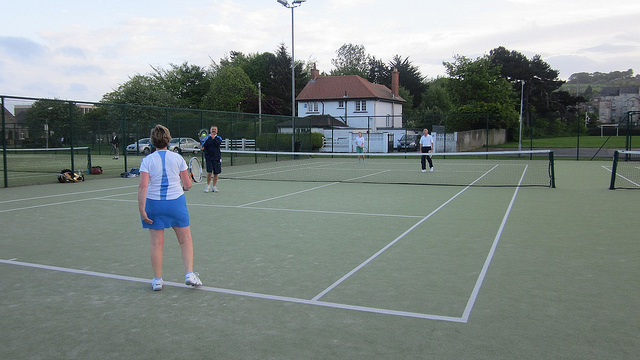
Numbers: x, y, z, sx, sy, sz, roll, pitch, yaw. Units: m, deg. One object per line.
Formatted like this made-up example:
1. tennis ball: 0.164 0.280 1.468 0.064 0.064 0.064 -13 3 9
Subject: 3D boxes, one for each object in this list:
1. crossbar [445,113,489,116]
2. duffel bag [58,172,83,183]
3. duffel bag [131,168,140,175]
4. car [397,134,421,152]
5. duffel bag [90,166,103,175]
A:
1. crossbar: 16.286 -7.338 54.478 4.197 0.176 0.833 2 6 34
2. duffel bag: -11.127 -0.127 21.634 0.931 0.434 0.420 -4 7 -25
3. duffel bag: -9.232 -0.482 24.202 0.399 0.185 0.531 -1 12 -38
4. car: 9.090 -3.869 48.946 1.762 1.333 2.894 -1 -1 28
5. duffel bag: -11.219 -0.500 24.355 0.509 0.337 0.377 0 -1 33
